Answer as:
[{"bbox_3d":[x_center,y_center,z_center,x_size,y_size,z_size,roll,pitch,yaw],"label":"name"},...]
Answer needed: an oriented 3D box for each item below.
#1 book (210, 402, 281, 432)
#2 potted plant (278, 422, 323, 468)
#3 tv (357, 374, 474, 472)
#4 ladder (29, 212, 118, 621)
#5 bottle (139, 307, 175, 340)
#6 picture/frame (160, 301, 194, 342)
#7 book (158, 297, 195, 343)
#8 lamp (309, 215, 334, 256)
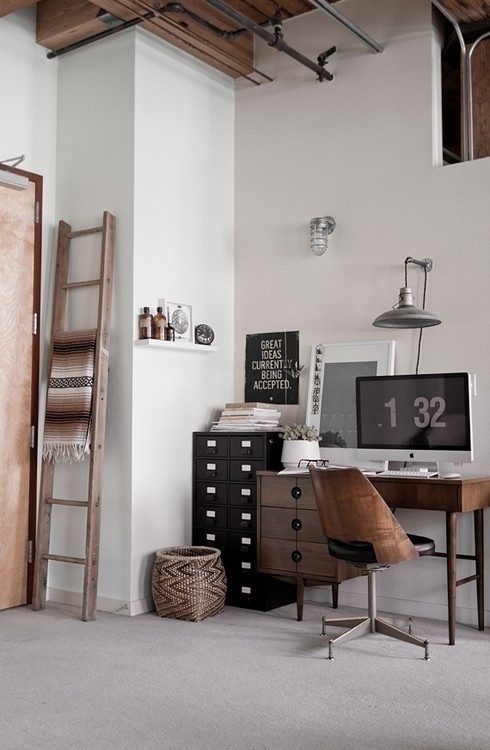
[{"bbox_3d":[0.005,0.258,3.703,0.390,0.160,0.240,3,0,-3],"label":"book"},{"bbox_3d":[0.287,0.388,3.419,0.219,0.220,0.219,0,-6,-2],"label":"potted plant"},{"bbox_3d":[0.821,0.227,3.028,0.478,0.349,0.062,-1,-2,39],"label":"tv"},{"bbox_3d":[-0.930,0.190,3.449,0.316,2.209,0.718,3,-1,-41],"label":"ladder"},{"bbox_3d":[-0.488,-0.268,3.450,0.072,0.178,0.190,-8,-8,42],"label":"bottle"},{"bbox_3d":[-0.399,-0.297,3.636,0.032,0.240,0.205,-5,13,32],"label":"picture/frame"},{"bbox_3d":[-0.402,-0.303,3.629,0.039,0.297,0.252,-10,-14,36],"label":"book"},{"bbox_3d":[0.446,-0.810,3.745,0.148,0.216,0.112,2,0,25],"label":"lamp"}]
